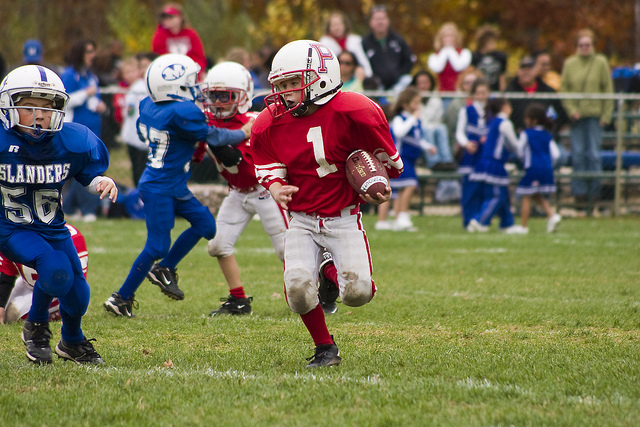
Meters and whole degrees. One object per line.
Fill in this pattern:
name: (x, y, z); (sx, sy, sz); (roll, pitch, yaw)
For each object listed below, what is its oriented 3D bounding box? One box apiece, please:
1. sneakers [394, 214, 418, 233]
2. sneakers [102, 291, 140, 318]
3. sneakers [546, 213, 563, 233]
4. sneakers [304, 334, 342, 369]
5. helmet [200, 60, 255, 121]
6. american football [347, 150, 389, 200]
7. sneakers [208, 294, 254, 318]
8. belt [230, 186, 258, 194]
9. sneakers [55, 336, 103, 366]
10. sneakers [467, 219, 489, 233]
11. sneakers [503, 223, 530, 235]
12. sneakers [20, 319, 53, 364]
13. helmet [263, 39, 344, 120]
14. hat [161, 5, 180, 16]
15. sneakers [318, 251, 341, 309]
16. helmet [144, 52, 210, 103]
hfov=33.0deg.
sneakers: (1.023, 0.093, 13.240); (0.292, 0.236, 0.358); (0, 13, 4)
sneakers: (-1.685, 0.785, 9.065); (0.332, 0.162, 0.121); (32, 19, -41)
sneakers: (1.889, 0.079, 8.793); (0.083, 0.212, 0.071); (25, -20, -11)
sneakers: (0.019, 1.063, 8.072); (0.310, 0.220, 0.178); (-24, 6, -23)
helmet: (-0.779, -1.027, 9.526); (0.387, 0.445, 0.523); (-15, -8, 33)
american football: (0.369, -0.260, 8.108); (0.243, 0.234, 0.384); (13, 31, -44)
sneakers: (-0.767, 0.804, 9.273); (0.401, 0.180, 0.145); (0, -1, -9)
belt: (-0.682, -0.212, 9.443); (0.294, 0.061, 0.060); (6, 14, 26)
sneakers: (-1.792, 1.016, 8.183); (0.401, 0.195, 0.153); (11, 8, 9)
sneakers: (1.256, 0.113, 8.711); (0.197, 0.102, 0.072); (0, 5, 16)
sneakers: (1.578, 0.124, 8.699); (0.149, 0.067, 0.086); (4, -1, -4)
sneakers: (-2.126, 0.957, 8.113); (0.217, 0.282, 0.272); (-4, 13, -16)
helmet: (-0.119, -1.045, 8.265); (0.653, 0.562, 0.487); (-7, 4, -27)
hat: (-1.749, -2.413, 12.731); (0.170, 0.067, 0.187); (-21, 30, -39)
sneakers: (0.111, 0.571, 8.882); (0.149, 0.498, 0.210); (-25, 49, -20)
helmet: (-1.240, -1.173, 9.206); (0.515, 0.410, 0.410); (-9, 21, -32)
